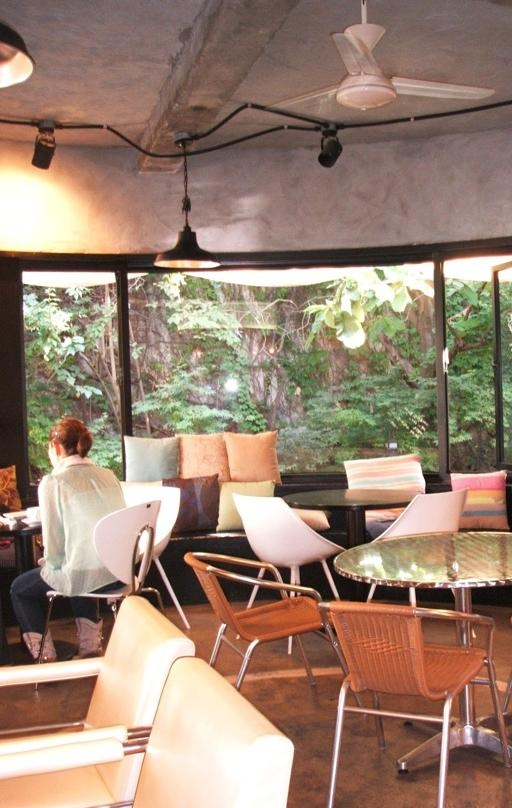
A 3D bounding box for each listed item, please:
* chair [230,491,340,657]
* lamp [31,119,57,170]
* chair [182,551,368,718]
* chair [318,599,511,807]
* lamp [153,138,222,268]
[{"bbox_3d":[0.096,0.855,3.471,0.329,0.438,0.310,20,-28,-19],"label":"chair"},{"bbox_3d":[-1.453,-1.773,4.533,0.151,0.300,0.258,-2,-8,-32],"label":"lamp"},{"bbox_3d":[0.054,0.925,2.694,0.574,0.664,0.500,-6,0,-14],"label":"chair"},{"bbox_3d":[0.452,0.848,1.984,0.446,0.614,0.650,-10,-8,31],"label":"chair"},{"bbox_3d":[-0.449,-1.320,4.321,0.469,0.766,0.452,-2,10,-5],"label":"lamp"}]
